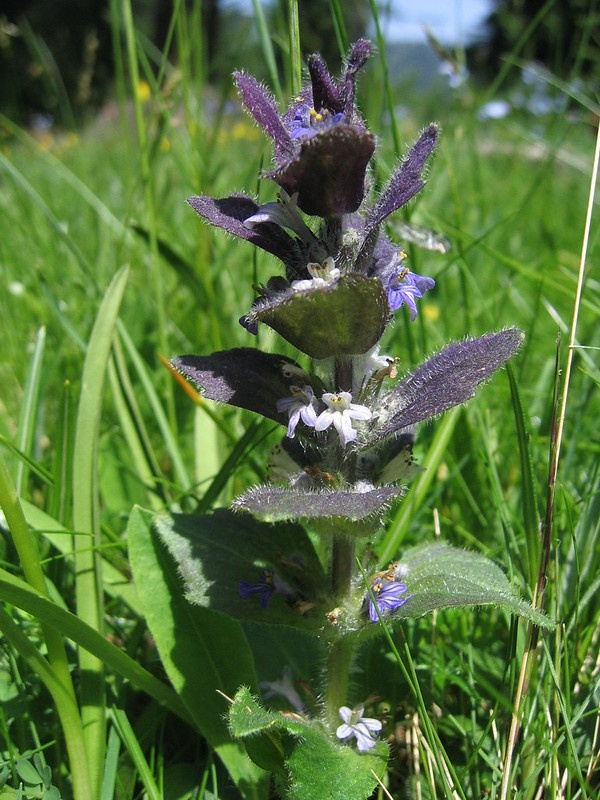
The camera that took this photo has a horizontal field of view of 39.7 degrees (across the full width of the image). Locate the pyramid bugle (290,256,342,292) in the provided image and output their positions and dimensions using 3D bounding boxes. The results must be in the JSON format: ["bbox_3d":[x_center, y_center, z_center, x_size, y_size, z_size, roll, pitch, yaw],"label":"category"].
[{"bbox_3d":[0.025,-0.189,1.306,0.064,0.030,0.071,-21,13,28],"label":"pyramid bugle"}]

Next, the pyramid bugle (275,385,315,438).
[{"bbox_3d":[-0.002,0.019,1.374,0.034,0.080,0.079,2,26,-28],"label":"pyramid bugle"}]

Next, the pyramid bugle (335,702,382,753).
[{"bbox_3d":[0.107,0.569,1.443,0.074,0.037,0.071,-2,31,0],"label":"pyramid bugle"}]

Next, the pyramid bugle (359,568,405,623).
[{"bbox_3d":[0.134,0.340,1.446,0.086,0.040,0.112,2,3,12],"label":"pyramid bugle"}]

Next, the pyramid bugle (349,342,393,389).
[{"bbox_3d":[0.130,-0.064,1.457,0.078,0.027,0.075,-10,-9,-35],"label":"pyramid bugle"}]
